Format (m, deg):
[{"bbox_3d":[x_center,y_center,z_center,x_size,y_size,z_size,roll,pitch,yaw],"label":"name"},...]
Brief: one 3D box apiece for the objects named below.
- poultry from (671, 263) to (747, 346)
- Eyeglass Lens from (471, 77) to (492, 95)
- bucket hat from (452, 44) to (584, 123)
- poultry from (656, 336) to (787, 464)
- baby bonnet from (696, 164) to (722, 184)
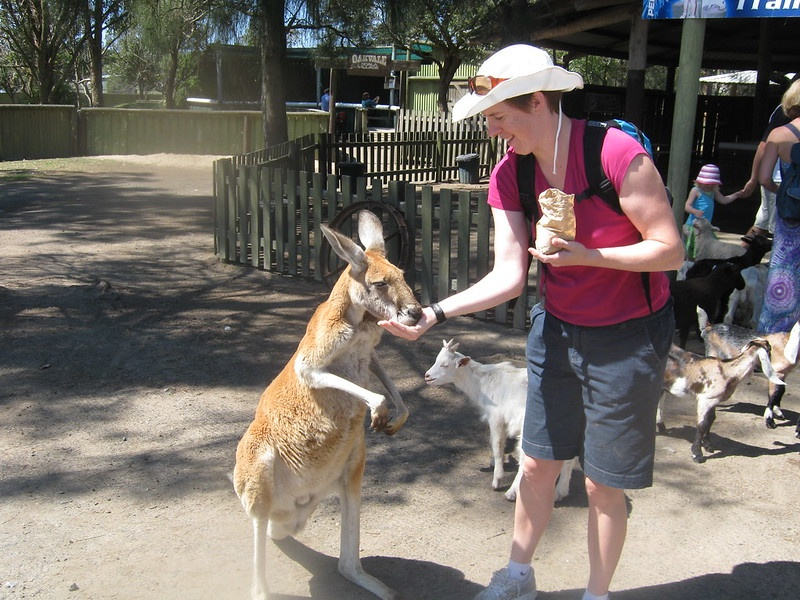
[{"bbox_3d":[3.172,0.064,7.122,0.291,0.758,1.103,-7,-2,-15],"label":"poultry"},{"bbox_3d":[0.397,-1.078,3.409,0.101,0.045,0.103,6,10,40],"label":"Eyeglass Lens"},{"bbox_3d":[0.611,-1.085,3.452,0.563,0.301,0.455,-18,0,-22],"label":"bucket hat"},{"bbox_3d":[2.439,0.746,5.460,0.266,1.086,1.090,-4,12,-30],"label":"poultry"},{"bbox_3d":[3.916,-1.614,8.744,0.272,0.252,0.422,3,17,22],"label":"baby bonnet"}]
